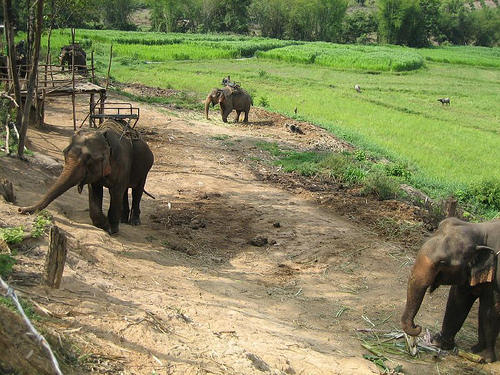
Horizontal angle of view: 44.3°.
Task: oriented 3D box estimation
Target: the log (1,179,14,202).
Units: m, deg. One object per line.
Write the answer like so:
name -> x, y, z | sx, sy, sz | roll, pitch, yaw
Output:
log -> -4.675, 0.046, 11.899 | 0.227, 0.403, 0.314 | -1, 15, -29

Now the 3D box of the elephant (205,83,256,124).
elephant -> -0.815, -3.719, 26.898 | 2.056, 1.633, 2.756 | 6, 13, -1

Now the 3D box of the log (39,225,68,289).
log -> -3.062, 1.076, 9.548 | 0.377, 1.059, 0.195 | 2, 14, -19

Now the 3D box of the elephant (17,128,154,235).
elephant -> -3.176, -0.113, 12.527 | 1.069, 2.182, 3.811 | 4, 4, 23

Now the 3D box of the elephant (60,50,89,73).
elephant -> -8.873, -6.568, 31.301 | 1.504, 0.976, 0.922 | -3, -10, 11
